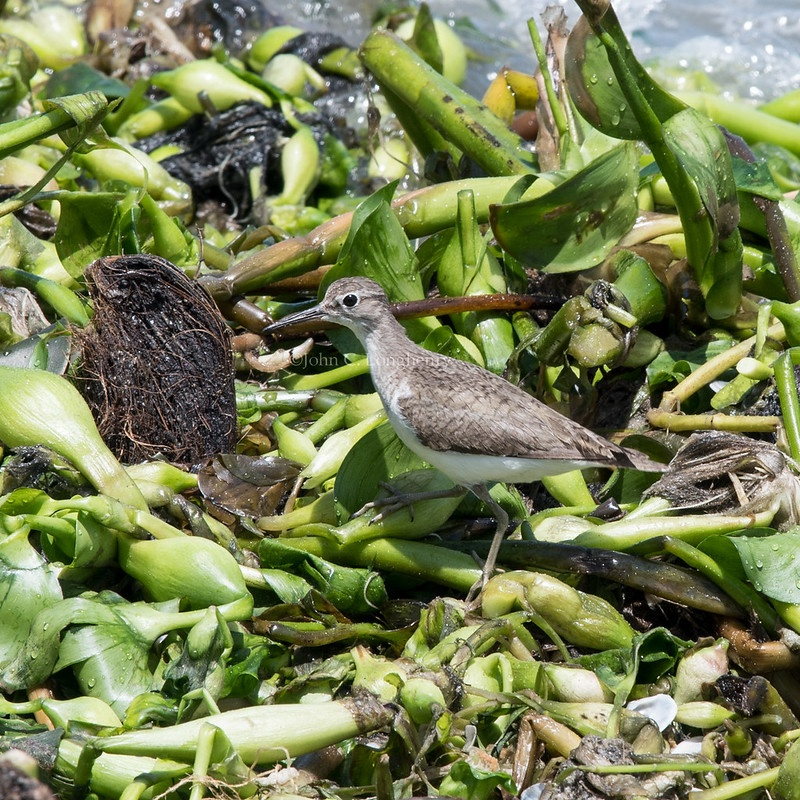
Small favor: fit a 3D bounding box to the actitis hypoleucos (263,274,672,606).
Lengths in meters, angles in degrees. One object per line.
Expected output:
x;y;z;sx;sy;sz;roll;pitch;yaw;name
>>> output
0.126;0.085;2.528;1.094;0.660;0.272;8;11;-4;actitis hypoleucos
